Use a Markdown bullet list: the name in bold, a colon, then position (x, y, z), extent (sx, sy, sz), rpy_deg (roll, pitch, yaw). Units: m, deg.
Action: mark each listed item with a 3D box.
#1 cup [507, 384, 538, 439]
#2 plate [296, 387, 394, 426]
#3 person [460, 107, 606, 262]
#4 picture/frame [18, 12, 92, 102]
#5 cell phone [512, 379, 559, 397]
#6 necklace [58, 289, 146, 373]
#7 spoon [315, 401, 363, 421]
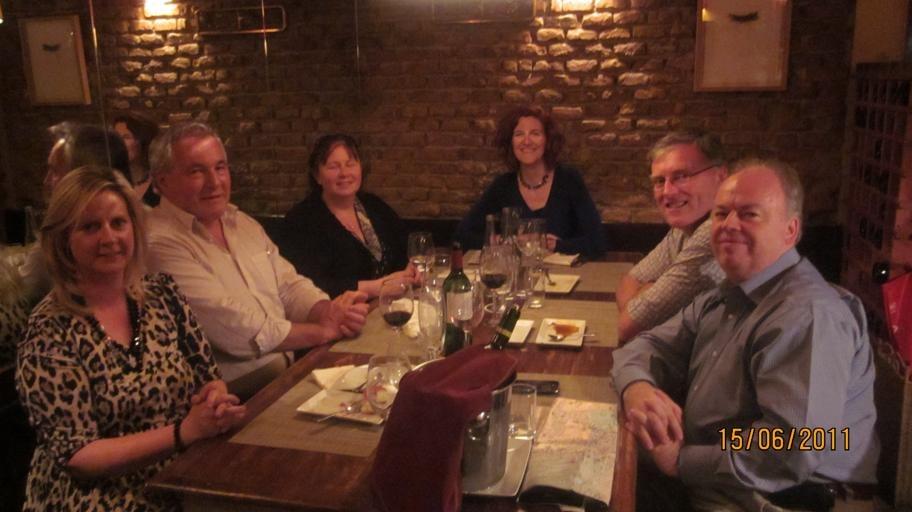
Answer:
- **cup**: position (0.247, 0.586, 2.587), extent (0.091, 0.210, 0.082), rpy_deg (-3, 16, 10)
- **plate**: position (-0.451, 0.614, 2.763), extent (0.239, 0.030, 0.149), rpy_deg (7, 26, 12)
- **person**: position (0.592, -0.519, 4.855), extent (1.350, 1.067, 0.821), rpy_deg (0, 6, 22)
- **picture/frame**: position (-2.099, -1.028, 3.585), extent (0.303, 0.461, 0.155), rpy_deg (-11, 17, -19)
- **cell phone**: position (0.330, 0.541, 2.848), extent (0.202, 0.018, 0.100), rpy_deg (1, 11, 3)
- **necklace**: position (-1.445, 0.339, 2.871), extent (0.284, 0.318, 0.133), rpy_deg (6, -30, -27)
- **spoon**: position (-0.467, 0.629, 2.739), extent (0.140, 0.021, 0.069), rpy_deg (-18, 35, -31)
